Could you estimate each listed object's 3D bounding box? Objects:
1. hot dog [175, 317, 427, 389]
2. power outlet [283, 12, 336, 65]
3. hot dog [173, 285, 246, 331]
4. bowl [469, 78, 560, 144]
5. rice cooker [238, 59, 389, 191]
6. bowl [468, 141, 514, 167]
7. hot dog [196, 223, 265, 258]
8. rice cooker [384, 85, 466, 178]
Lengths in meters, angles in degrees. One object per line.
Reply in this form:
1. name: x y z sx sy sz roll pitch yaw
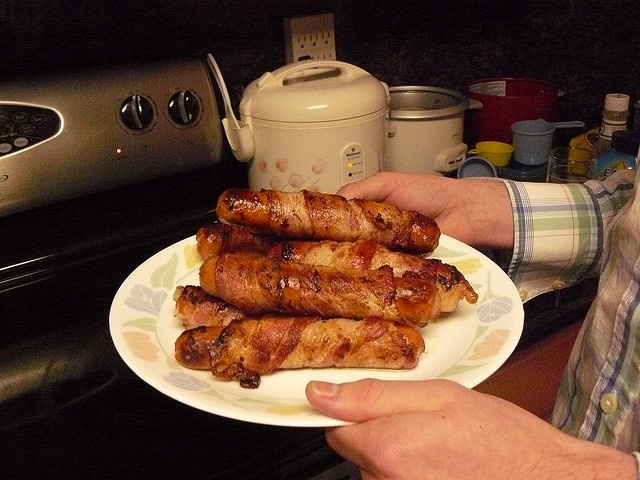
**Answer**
1. hot dog: -0.034 0.186 0.875 0.426 0.117 0.142 -3 -2 0
2. power outlet: -0.029 -0.601 1.479 0.161 0.129 0.032 -16 31 -25
3. hot dog: -0.206 0.122 0.918 0.119 0.040 0.070 5 51 -14
4. bowl: 0.662 -0.461 1.751 0.314 0.221 0.234 -7 22 -5
5. rice cooker: -0.013 -0.290 1.304 0.378 0.320 0.171 -7 28 -9
6. bowl: 0.568 -0.290 1.642 0.112 0.042 0.098 2 31 12
7. hot dog: -0.179 0.000 1.013 0.126 0.057 0.061 3 0 -38
8. rice cooker: 0.302 -0.316 1.565 0.270 0.298 0.253 -2 23 2
